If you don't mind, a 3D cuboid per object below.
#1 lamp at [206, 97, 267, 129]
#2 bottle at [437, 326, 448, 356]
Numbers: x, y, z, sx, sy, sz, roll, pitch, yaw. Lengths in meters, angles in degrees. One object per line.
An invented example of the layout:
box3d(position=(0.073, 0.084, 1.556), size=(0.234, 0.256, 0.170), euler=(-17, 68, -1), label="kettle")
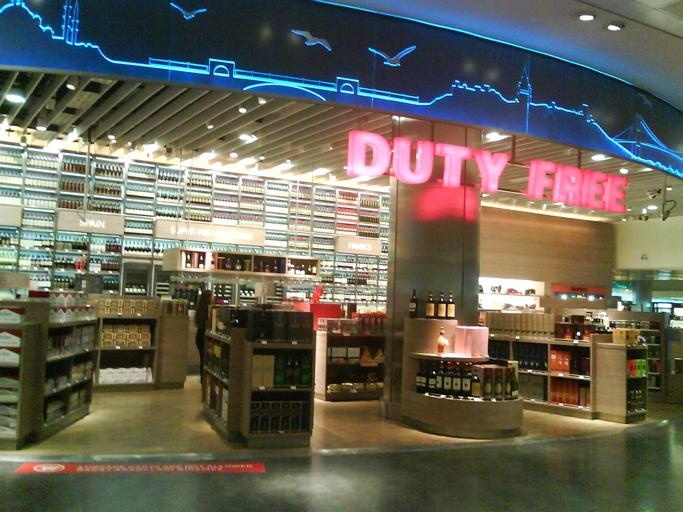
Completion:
box3d(position=(-1.870, -2.555, 10.376), size=(1.807, 0.211, 0.306), euler=(-9, -5, 40), label="lamp")
box3d(position=(1.501, 1.256, 8.746), size=(0.160, 0.313, 0.194), euler=(3, -1, 25), label="bottle")
